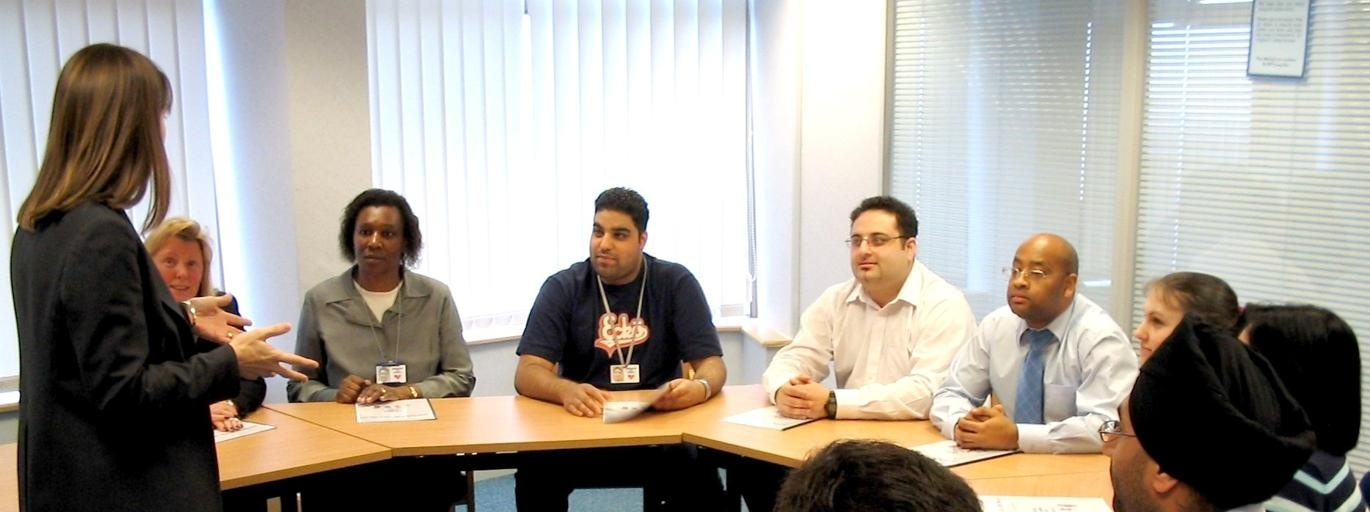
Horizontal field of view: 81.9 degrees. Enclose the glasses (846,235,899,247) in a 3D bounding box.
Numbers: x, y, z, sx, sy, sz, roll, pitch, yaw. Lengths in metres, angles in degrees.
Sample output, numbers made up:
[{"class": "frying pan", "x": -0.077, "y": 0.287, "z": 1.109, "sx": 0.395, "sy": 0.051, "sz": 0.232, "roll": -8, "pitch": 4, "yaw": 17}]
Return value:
[{"class": "glasses", "x": 1.536, "y": -0.130, "z": 6.517, "sx": 0.422, "sy": 0.116, "sz": 0.136, "roll": 1, "pitch": 11, "yaw": 10}]
